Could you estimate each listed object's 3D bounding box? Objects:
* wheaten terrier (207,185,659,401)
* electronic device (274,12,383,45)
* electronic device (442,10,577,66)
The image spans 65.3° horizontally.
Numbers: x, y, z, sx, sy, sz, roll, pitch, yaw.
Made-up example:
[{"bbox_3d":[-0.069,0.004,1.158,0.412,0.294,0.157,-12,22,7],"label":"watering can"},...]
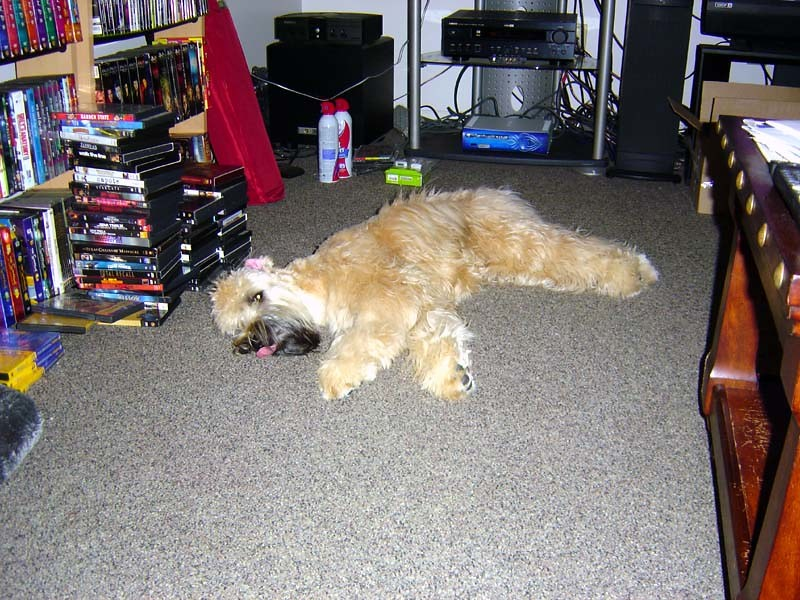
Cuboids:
[{"bbox_3d":[0.018,-0.170,1.651,0.761,0.244,0.739,-38,24,-30],"label":"wheaten terrier"},{"bbox_3d":[-0.337,-1.333,3.095,0.550,0.136,0.290,-7,32,-12],"label":"electronic device"},{"bbox_3d":[0.520,-1.248,2.964,0.616,0.189,0.297,8,32,12],"label":"electronic device"}]
